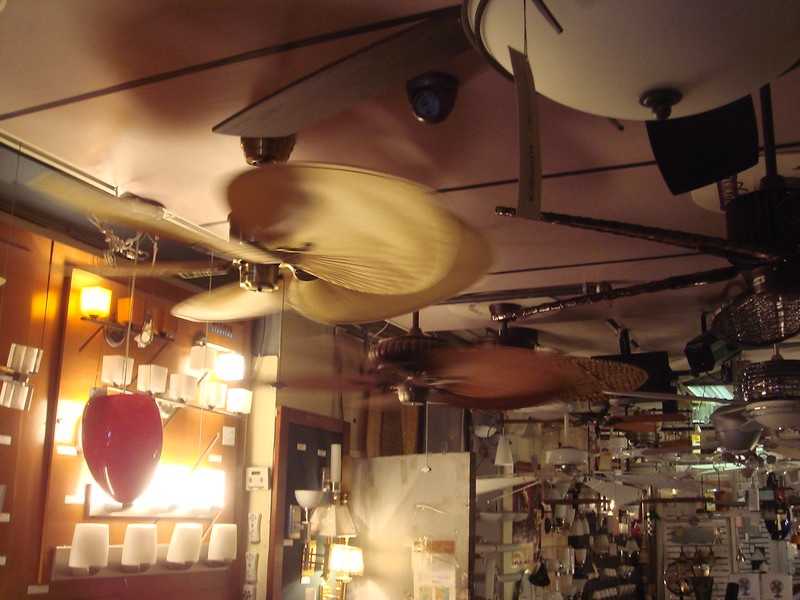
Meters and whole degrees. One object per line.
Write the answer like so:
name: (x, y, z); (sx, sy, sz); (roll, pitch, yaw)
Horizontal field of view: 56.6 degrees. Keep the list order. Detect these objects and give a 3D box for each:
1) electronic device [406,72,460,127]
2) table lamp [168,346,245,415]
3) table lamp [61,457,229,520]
electronic device: (0.135, -0.851, 3.188); (0.237, 0.161, 0.243); (-9, -9, 32)
table lamp: (-1.598, 0.667, 6.066); (0.225, 0.458, 0.574); (-7, -19, 41)
table lamp: (-1.790, 1.318, 5.140); (0.208, 0.311, 1.144); (-16, -21, 25)
